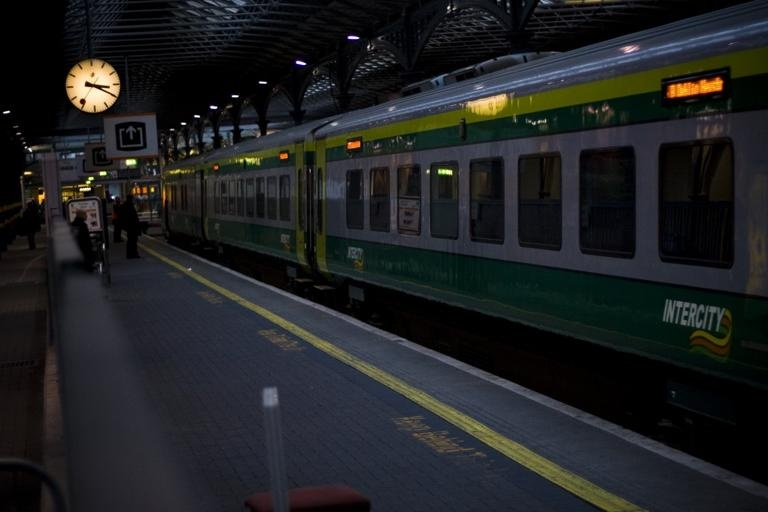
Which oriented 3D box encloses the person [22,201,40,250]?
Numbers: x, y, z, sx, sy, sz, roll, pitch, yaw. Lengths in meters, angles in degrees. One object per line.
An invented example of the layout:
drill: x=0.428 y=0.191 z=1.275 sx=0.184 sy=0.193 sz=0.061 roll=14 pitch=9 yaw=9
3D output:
person: x=-20.697 y=-1.909 z=33.144 sx=0.877 sy=2.924 sz=0.961 roll=4 pitch=8 yaw=29
